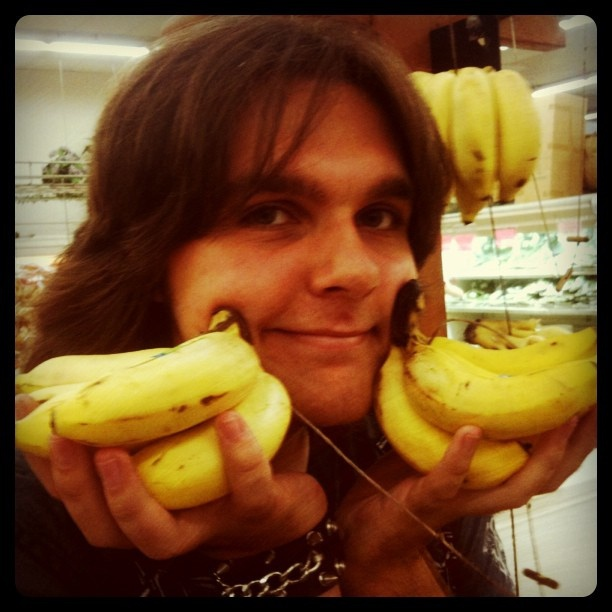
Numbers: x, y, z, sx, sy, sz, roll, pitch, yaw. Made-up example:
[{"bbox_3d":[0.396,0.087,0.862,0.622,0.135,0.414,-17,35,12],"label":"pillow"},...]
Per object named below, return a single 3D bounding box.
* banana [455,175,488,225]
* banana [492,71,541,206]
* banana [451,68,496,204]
[{"bbox_3d":[0.518,-0.318,1.805,0.100,0.137,0.043,-8,52,19],"label":"banana"},{"bbox_3d":[0.652,-0.536,1.769,0.206,0.313,0.092,0,5,-8],"label":"banana"},{"bbox_3d":[0.497,-0.530,1.835,0.137,0.430,0.167,-2,2,0],"label":"banana"}]
